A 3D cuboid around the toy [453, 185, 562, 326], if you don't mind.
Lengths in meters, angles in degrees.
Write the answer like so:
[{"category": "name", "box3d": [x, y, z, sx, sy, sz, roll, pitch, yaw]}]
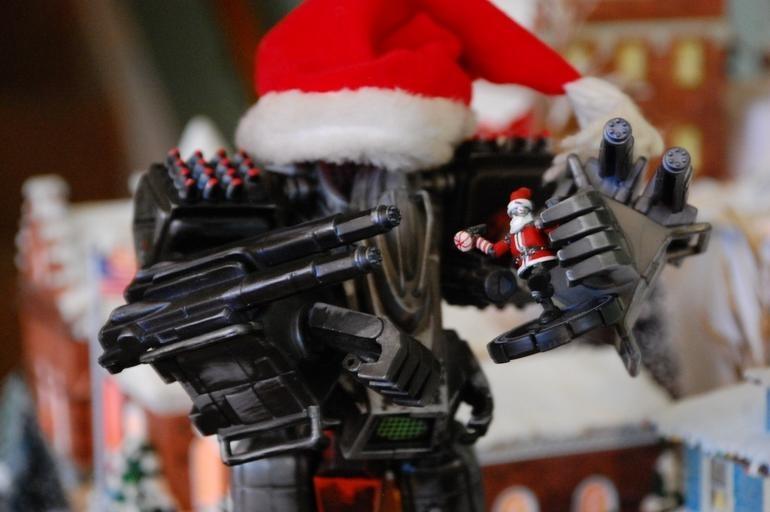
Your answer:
[{"category": "toy", "box3d": [0.233, 0.006, 2.081, 0.174, 0.291, 0.126, -23, -24, 19]}]
